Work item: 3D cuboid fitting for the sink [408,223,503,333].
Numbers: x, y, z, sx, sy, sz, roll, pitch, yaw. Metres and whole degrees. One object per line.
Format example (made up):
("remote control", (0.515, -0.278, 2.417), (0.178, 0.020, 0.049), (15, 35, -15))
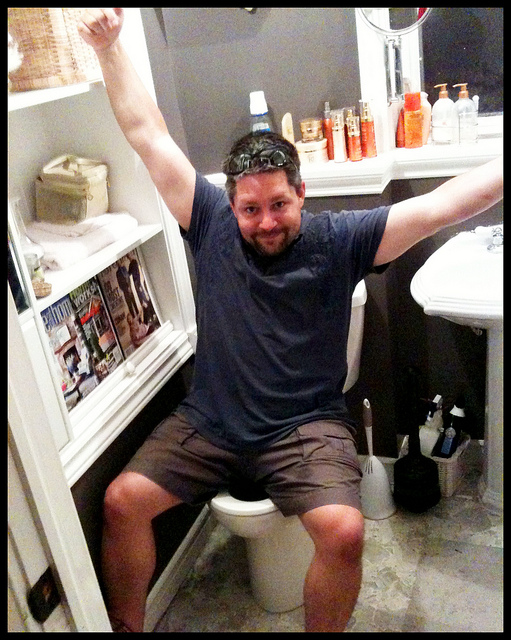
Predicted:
("sink", (0.547, -0.118, 1.258), (0.239, 0.150, 0.325), (-1, 46, 43))

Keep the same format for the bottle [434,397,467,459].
("bottle", (0.668, 0.350, 1.616), (0.064, 0.271, 0.062), (-1, 36, 1))

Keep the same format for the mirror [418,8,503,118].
("mirror", (0.607, -0.746, 1.419), (0.229, 0.310, 0.087), (2, 21, 27))

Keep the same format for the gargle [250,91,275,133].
("gargle", (0.023, -0.589, 1.459), (0.061, 0.195, 0.066), (-5, 24, 10))

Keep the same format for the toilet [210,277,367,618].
("toilet", (0.200, 0.279, 1.377), (0.237, 0.600, 0.454), (-2, 14, 14))

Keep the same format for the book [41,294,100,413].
("book", (-0.407, 0.077, 1.044), (0.015, 0.233, 0.198), (-14, 15, 14))
